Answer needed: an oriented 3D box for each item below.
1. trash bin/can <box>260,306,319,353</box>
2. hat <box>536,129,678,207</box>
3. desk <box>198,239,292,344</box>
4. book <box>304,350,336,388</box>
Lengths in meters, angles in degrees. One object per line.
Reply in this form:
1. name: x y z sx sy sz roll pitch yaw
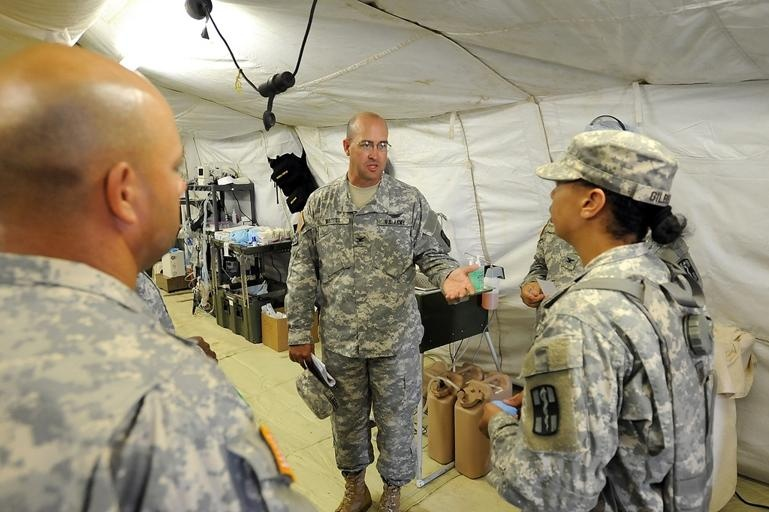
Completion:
1. trash bin/can: -0.972 0.683 5.332 0.551 0.490 0.530 -6 9 -40
2. hat: 0.748 -0.275 1.795 0.365 0.164 0.274 17 19 19
3. desk: -1.391 0.328 5.833 0.748 1.050 1.158 -6 8 -31
4. book: -0.330 0.589 2.696 0.060 0.174 0.175 -37 39 -13
